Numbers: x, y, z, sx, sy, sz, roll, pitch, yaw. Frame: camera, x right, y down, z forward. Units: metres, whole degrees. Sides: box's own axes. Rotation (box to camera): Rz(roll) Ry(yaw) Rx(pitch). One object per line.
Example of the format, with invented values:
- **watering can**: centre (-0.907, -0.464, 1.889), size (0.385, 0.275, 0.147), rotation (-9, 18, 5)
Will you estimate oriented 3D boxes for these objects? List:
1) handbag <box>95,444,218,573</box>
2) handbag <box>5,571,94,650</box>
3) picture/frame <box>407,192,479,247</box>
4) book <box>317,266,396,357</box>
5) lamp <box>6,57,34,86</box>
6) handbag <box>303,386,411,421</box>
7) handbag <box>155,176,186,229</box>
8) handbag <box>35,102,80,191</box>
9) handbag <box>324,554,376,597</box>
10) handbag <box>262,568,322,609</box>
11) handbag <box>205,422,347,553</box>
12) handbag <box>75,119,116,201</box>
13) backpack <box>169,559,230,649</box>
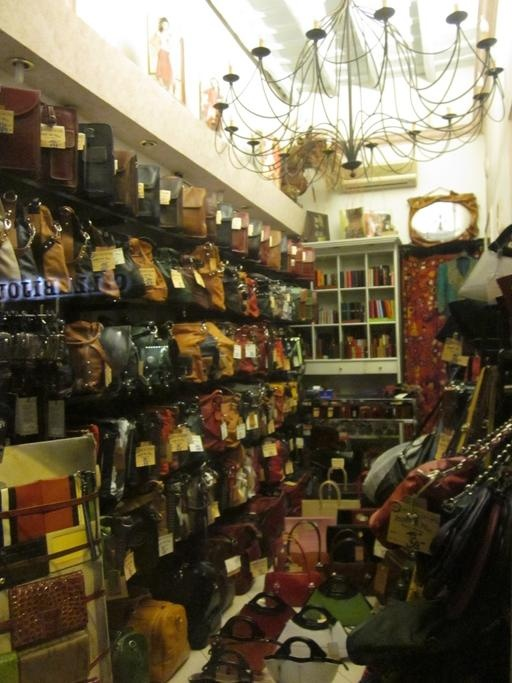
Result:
- **handbag**: centre (-0.479, 0.912, 2.990), size (0.496, 0.248, 0.673), rotation (-17, -4, -46)
- **handbag**: centre (-0.672, 0.858, 1.845), size (0.067, 0.189, 0.291), rotation (-11, -9, 35)
- **picture/frame**: centre (2.085, -1.340, 6.310), size (0.663, 0.537, 0.048), rotation (-1, 5, 21)
- **book**: centre (1.124, -0.305, 6.267), size (1.011, 1.156, 0.344), rotation (-1, -8, 7)
- **lamp**: centre (-0.955, -1.095, 2.328), size (0.087, 0.087, 0.085), rotation (0, 0, -2)
- **handbag**: centre (0.956, 0.593, 5.326), size (1.012, 0.255, 0.474), rotation (-3, -4, 10)
- **handbag**: centre (-0.474, -0.784, 3.233), size (0.246, 0.235, 0.077), rotation (1, 3, -13)
- **handbag**: centre (-0.787, -0.801, 2.328), size (0.085, 0.276, 0.216), rotation (6, 6, 22)
- **handbag**: centre (0.542, 1.322, 3.221), size (0.314, 0.107, 0.228), rotation (2, -6, 2)
- **handbag**: centre (0.205, 1.352, 3.121), size (0.341, 0.266, 0.163), rotation (0, -9, 7)
- **handbag**: centre (0.218, 1.159, 4.497), size (0.445, 0.560, 1.737), rotation (-4, -4, 15)
- **handbag**: centre (-0.706, -0.808, 2.553), size (0.147, 0.323, 0.117), rotation (0, -5, -24)
- **backpack**: centre (-0.254, 1.345, 3.078), size (0.298, 0.394, 0.572), rotation (1, 1, 7)
